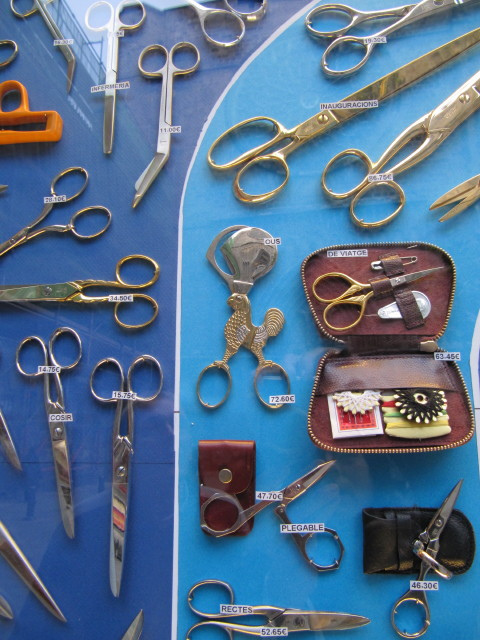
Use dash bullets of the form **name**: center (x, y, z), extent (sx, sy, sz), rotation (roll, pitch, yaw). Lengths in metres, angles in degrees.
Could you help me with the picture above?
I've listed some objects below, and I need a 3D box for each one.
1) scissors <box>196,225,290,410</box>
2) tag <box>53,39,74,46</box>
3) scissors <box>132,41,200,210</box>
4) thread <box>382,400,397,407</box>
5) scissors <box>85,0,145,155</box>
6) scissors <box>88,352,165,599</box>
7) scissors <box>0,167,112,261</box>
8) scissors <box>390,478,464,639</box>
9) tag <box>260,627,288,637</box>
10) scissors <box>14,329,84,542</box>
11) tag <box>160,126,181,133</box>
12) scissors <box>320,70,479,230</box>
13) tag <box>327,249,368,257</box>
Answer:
- **scissors**: center (0.005, -0.004, 1.173), extent (0.169, 0.355, 0.030), rotation (-1, -1, 5)
- **tag**: center (-0.392, -0.617, 1.366), extent (0.050, 0.020, 0.008), rotation (-6, -33, 7)
- **scissors**: center (-0.154, -0.427, 1.318), extent (0.133, 0.362, 0.016), rotation (5, -18, 17)
- **thread**: center (0.258, 0.145, 1.065), extent (0.027, 0.007, 0.007), rotation (-13, -3, 18)
- **scissors**: center (-0.281, -0.518, 1.331), extent (0.142, 0.350, 0.014), rotation (0, -17, 7)
- **scissors**: center (-0.225, 0.276, 1.156), extent (0.161, 0.431, 0.048), rotation (1, -12, 0)
- **scissors**: center (-0.361, -0.210, 1.330), extent (0.273, 0.147, 0.014), rotation (-35, -20, 5)
- **scissors**: center (0.326, 0.413, 1.090), extent (0.075, 0.280, 0.038), rotation (20, 2, 8)
- **tag**: center (0.057, 0.544, 1.068), extent (0.048, 0.014, 0.015), rotation (1, -33, -4)
- **scissors**: center (-0.362, 0.214, 1.182), extent (0.146, 0.390, 0.046), rotation (-12, -17, 4)
- **tag**: center (-0.145, -0.394, 1.271), extent (0.043, 0.014, 0.008), rotation (-2, -33, 0)
- **scissors**: center (0.316, -0.321, 1.188), extent (0.321, 0.271, 0.087), rotation (-10, -34, 14)
- **tag**: center (0.198, -0.123, 1.136), extent (0.074, 0.017, 0.006), rotation (-3, -33, 2)
